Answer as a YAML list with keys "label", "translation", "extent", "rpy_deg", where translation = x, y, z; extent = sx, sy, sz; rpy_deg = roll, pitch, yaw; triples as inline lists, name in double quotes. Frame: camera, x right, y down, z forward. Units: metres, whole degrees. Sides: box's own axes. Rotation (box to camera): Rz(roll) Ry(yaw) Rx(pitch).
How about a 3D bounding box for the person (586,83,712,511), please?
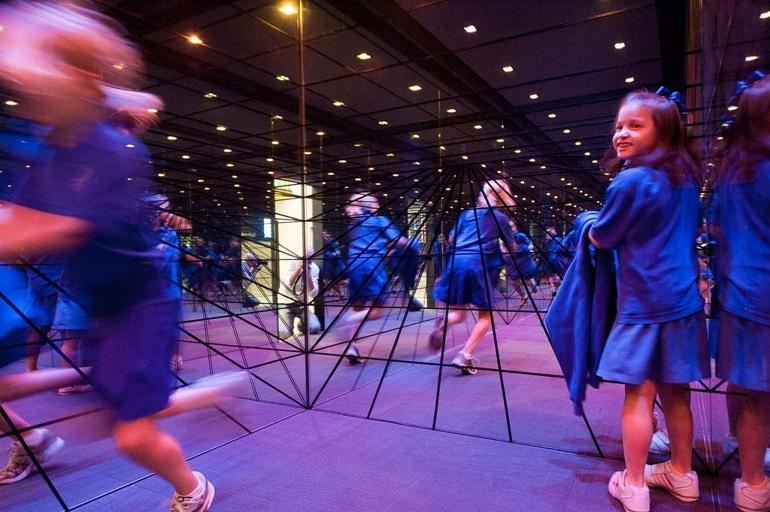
- label: "person"
  translation: [1.138, 0.182, 2.074]
  extent: [0.476, 1.766, 0.651]
  rpy_deg: [1, 16, 20]

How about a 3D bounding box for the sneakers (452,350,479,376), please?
- label: "sneakers"
  translation: [0.563, 0.752, 3.365]
  extent: [0.096, 0.100, 0.238]
  rpy_deg: [2, -22, 45]

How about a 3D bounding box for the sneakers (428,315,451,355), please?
- label: "sneakers"
  translation: [0.380, 0.574, 3.712]
  extent: [0.150, 0.352, 0.161]
  rpy_deg: [20, -7, -5]
